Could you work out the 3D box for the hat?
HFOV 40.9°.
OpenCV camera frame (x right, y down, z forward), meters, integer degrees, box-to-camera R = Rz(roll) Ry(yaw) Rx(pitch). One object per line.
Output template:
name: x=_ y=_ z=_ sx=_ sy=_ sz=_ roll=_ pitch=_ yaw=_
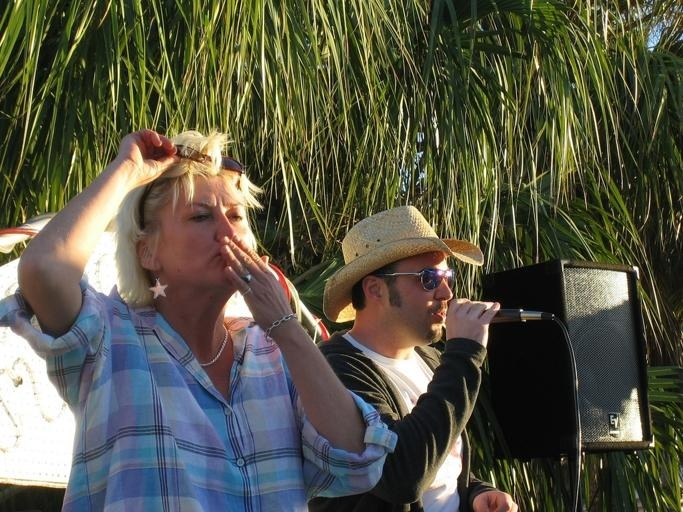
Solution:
hat: x=0.221 y=0.135 z=4.381 sx=0.669 sy=0.381 sz=0.499 roll=-39 pitch=-10 yaw=23
